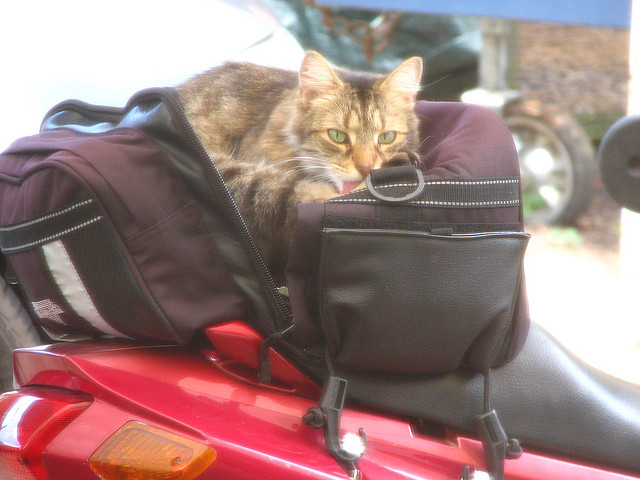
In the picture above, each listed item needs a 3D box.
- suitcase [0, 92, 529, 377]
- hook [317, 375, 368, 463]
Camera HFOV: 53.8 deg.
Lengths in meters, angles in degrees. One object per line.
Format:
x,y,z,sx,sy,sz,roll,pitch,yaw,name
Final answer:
-0.118,0.020,1.237,0.791,0.442,0.594,1,-8,-19,suitcase
0.041,0.330,1.168,0.084,0.141,0.077,8,24,28,hook
